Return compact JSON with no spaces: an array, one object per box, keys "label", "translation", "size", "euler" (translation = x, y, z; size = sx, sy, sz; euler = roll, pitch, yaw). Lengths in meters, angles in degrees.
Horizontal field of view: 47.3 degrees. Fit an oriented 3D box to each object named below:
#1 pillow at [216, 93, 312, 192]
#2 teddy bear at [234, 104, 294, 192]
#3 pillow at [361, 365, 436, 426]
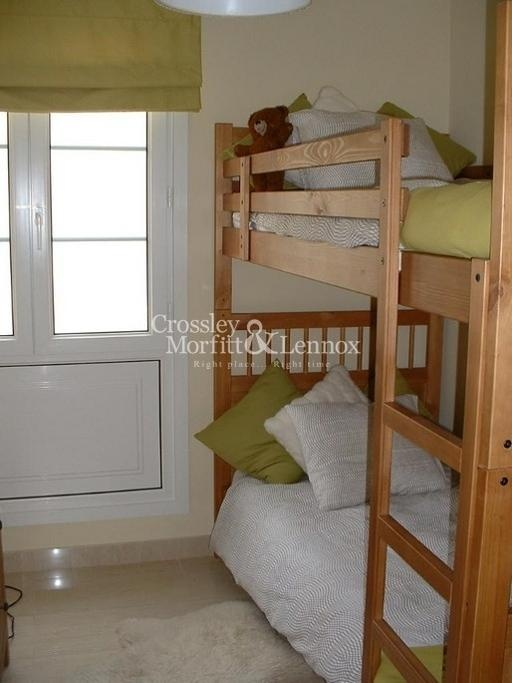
[{"label":"pillow","translation":[0.003,-0.702,2.047],"size":[0.227,0.272,0.201],"euler":[-10,-8,27]},{"label":"teddy bear","translation":[0.001,-0.699,2.024],"size":[0.213,0.257,0.183],"euler":[-5,-4,4]},{"label":"pillow","translation":[0.288,0.127,1.197],"size":[0.106,0.037,0.129],"euler":[13,-18,26]}]
